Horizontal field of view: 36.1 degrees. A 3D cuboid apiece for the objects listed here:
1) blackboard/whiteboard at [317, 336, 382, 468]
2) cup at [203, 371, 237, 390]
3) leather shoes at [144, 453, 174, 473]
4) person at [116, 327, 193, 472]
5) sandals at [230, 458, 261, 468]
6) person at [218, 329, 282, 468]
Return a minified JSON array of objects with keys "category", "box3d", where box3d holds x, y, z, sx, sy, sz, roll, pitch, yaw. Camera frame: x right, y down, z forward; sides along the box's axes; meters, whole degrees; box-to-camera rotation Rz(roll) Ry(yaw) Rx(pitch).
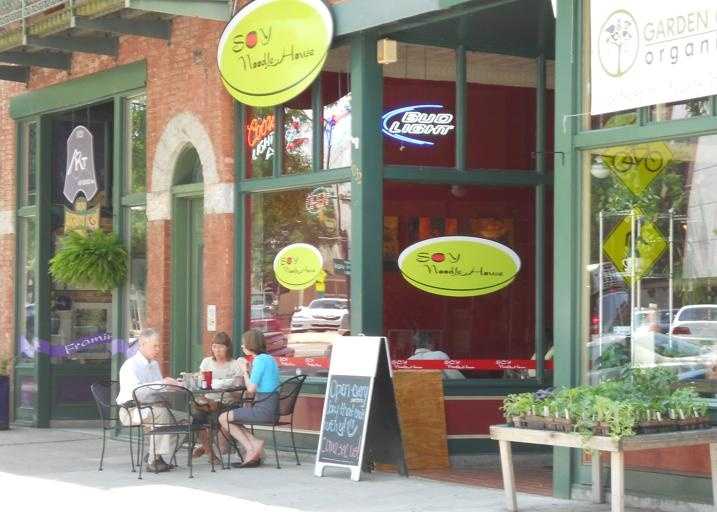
[{"category":"blackboard/whiteboard","box3d":[-0.123,1.645,12.263,0.721,1.539,0.349,-6,-9,42]},{"category":"cup","box3d":[-1.677,1.444,12.963,0.211,0.120,0.286,3,-4,-39]},{"category":"leather shoes","box3d":[-2.325,2.376,12.682,0.387,0.266,0.136,0,-3,-11]},{"category":"person","box3d":[-2.422,1.649,12.741,0.802,1.642,0.825,0,-7,5]},{"category":"sandals","box3d":[-1.312,2.398,12.880,0.369,0.115,0.240,2,-7,-10]},{"category":"person","box3d":[-1.287,1.651,12.912,0.569,1.604,0.751,6,-9,-36]}]
